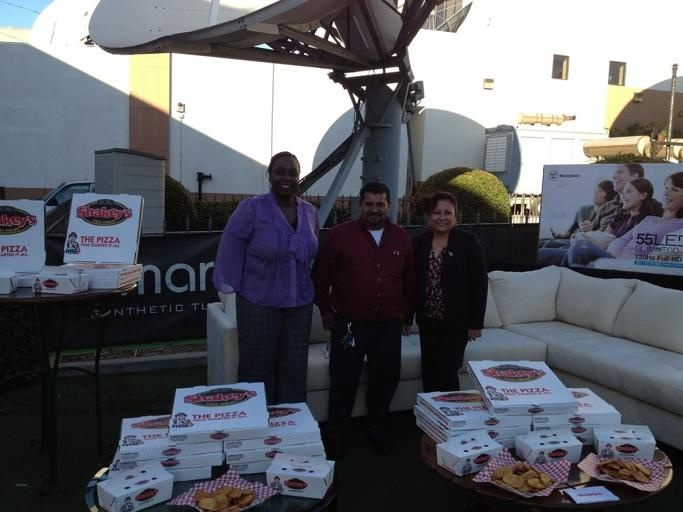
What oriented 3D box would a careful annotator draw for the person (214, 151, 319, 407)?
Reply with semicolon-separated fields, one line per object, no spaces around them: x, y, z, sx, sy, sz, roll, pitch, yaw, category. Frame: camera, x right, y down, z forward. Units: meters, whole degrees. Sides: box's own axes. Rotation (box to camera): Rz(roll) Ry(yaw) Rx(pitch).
-0.546;0.344;4.491;0.970;2.251;0.609;1;16;-10;person

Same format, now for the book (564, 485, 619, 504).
1.491;1.427;3.263;0.299;0.029;0.130;-2;11;-8;book

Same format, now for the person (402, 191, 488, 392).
0.886;0.296;5.024;0.670;1.732;0.701;5;8;2;person

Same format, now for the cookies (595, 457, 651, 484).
1.772;1.331;3.431;0.339;0.070;0.210;2;11;11;cookies
